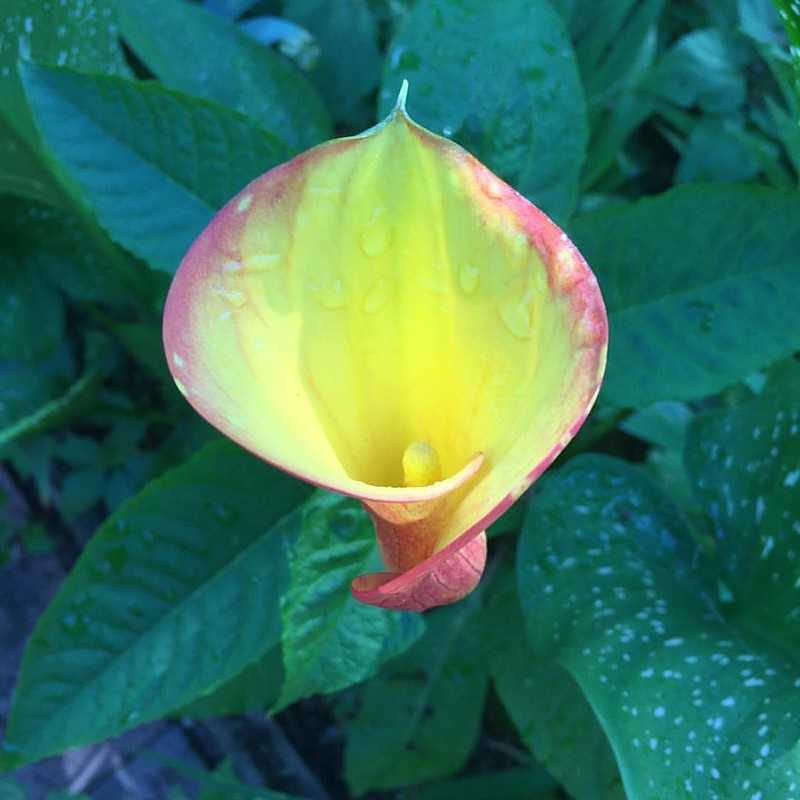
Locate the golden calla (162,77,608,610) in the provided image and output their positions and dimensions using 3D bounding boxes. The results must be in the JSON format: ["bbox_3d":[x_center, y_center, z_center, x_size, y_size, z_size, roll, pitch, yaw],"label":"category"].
[{"bbox_3d":[-0.028,-0.027,0.399,0.183,0.210,0.197,-8,68,10],"label":"golden calla"}]
